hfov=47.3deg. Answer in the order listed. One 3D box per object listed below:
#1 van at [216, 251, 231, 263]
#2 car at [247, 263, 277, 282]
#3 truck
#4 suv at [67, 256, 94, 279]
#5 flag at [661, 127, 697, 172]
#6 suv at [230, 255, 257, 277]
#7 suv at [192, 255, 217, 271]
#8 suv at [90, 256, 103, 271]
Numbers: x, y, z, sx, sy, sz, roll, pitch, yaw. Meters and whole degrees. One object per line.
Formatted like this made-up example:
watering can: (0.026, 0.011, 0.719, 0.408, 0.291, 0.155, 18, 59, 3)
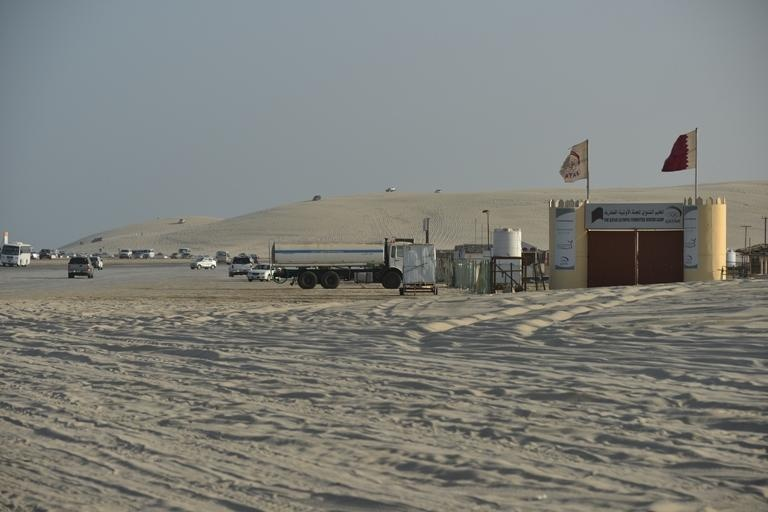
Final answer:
van: (-22.421, 0.238, 122.148, 1.401, 1.052, 2.190, 0, 8, -2)
car: (-7.463, 1.164, 52.902, 1.285, 0.859, 2.075, 1, 8, -4)
truck: (-2.334, 0.369, 44.195, 7.564, 2.517, 2.665, -1, 2, -8)
suv: (-19.097, 0.751, 55.370, 1.145, 0.954, 2.063, 1, 6, -5)
flag: (12.310, -4.250, 36.172, 1.148, 1.740, 3.739, 3, 12, 18)
suv: (-9.870, 0.670, 61.201, 1.691, 1.325, 2.833, -1, -3, -2)
suv: (-19.194, 0.765, 93.968, 2.494, 1.030, 1.090, 1, -3, -2)
suv: (-24.766, 0.664, 75.448, 1.133, 0.836, 1.884, 1, 4, -3)
